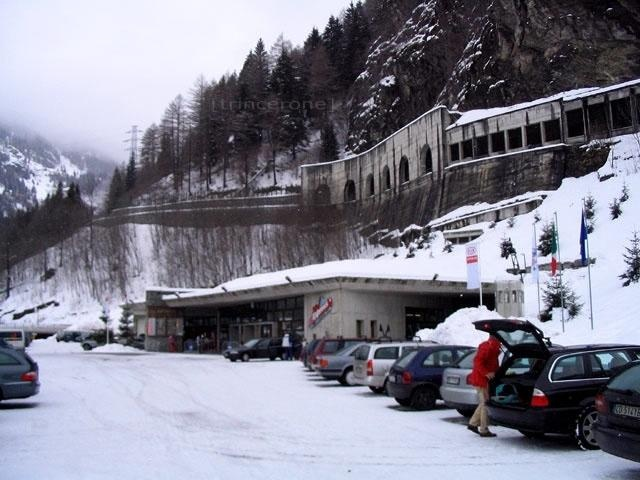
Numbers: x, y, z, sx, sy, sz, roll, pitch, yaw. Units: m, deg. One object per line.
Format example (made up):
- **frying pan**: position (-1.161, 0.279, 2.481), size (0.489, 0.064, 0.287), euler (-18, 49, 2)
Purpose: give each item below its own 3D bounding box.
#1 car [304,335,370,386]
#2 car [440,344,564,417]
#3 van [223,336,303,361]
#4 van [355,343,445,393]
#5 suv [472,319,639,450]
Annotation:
- **car**: position (0.747, 5.030, 29.870), size (2.247, 1.222, 1.498), euler (-1, -5, -12)
- **car**: position (5.185, 4.303, 21.754), size (2.996, 1.767, 1.842), euler (-4, -3, -24)
- **van**: position (-3.922, 6.432, 42.353), size (3.496, 1.409, 1.814), euler (8, -14, -31)
- **van**: position (2.762, 4.499, 26.263), size (2.789, 1.415, 1.524), euler (-2, -5, -20)
- **suv**: position (6.100, 3.779, 18.989), size (4.270, 2.806, 2.590), euler (-3, -3, -23)
